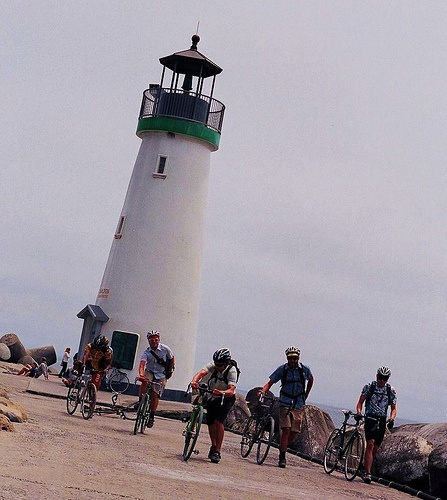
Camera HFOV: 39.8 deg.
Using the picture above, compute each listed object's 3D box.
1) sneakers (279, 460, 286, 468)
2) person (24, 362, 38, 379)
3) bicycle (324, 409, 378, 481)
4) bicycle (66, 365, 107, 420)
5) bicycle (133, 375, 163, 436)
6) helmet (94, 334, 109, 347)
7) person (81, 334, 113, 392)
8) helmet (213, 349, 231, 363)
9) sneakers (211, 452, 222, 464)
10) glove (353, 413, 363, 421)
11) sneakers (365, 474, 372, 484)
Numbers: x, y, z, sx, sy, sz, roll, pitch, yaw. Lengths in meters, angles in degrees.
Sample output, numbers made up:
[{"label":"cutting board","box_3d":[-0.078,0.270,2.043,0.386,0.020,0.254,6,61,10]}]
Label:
[{"label":"sneakers","box_3d":[1.170,4.310,12.475,0.068,0.107,0.223,3,2,2]},{"label":"person","box_3d":[-11.749,7.171,37.180,1.003,0.777,3.185,15,-12,-16]},{"label":"bicycle","box_3d":[2.587,4.095,12.983,0.703,1.408,1.861,10,-11,1]},{"label":"bicycle","box_3d":[-3.698,3.793,16.125,0.797,1.187,1.773,11,-17,-18]},{"label":"bicycle","box_3d":[-1.708,3.527,13.819,0.432,1.264,1.291,11,-11,-5]},{"label":"helmet","box_3d":[-3.070,2.302,15.469,0.384,0.344,0.418,15,-12,-16]},{"label":"person","box_3d":[-3.297,2.862,15.991,0.710,1.347,1.674,12,-11,-11]},{"label":"helmet","box_3d":[-0.040,1.862,10.806,0.293,0.266,0.507,11,-11,1]},{"label":"sneakers","box_3d":[-0.151,3.640,10.838,0.145,0.230,0.473,2,-16,-3]},{"label":"glove","box_3d":[2.703,3.392,12.503,0.164,0.181,0.175,3,-11,-17]},{"label":"sneakers","box_3d":[2.893,4.605,12.433,0.077,0.120,0.258,2,0,5]}]
